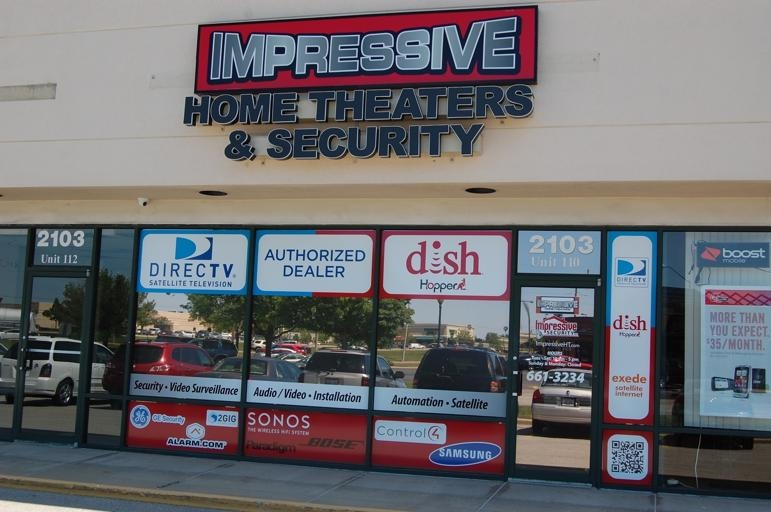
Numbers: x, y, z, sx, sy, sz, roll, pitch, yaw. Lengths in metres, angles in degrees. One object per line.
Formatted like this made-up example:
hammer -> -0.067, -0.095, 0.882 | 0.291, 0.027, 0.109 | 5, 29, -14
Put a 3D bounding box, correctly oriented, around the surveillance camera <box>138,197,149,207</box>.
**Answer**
surveillance camera -> -4.542, -1.018, 16.656 | 0.179, 0.147, 0.149 | 1, -12, -6
